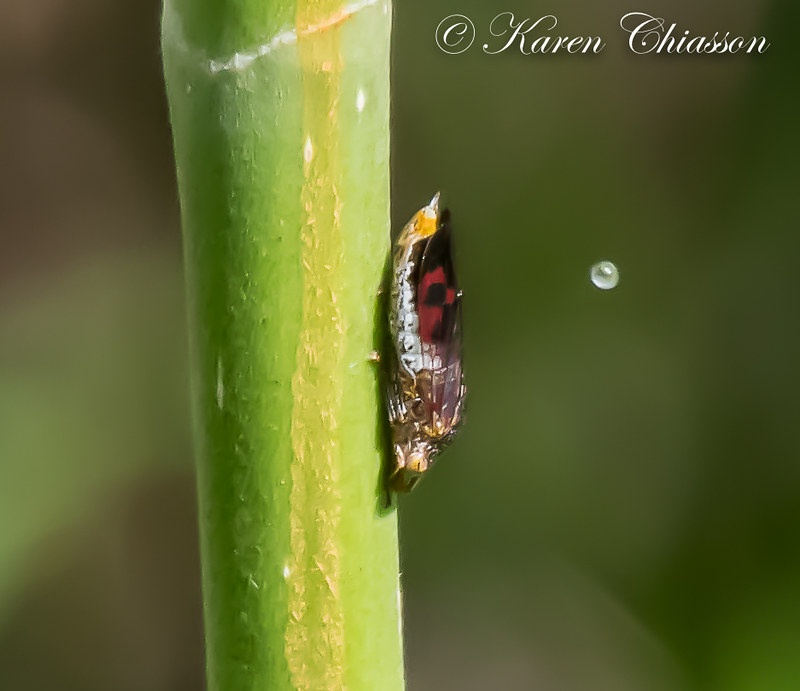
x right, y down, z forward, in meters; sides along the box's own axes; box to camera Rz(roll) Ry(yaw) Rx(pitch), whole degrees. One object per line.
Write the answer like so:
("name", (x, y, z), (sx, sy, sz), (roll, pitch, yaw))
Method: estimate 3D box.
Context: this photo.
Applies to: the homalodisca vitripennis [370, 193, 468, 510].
("homalodisca vitripennis", (0.013, -0.002, 0.700), (0.050, 0.059, 0.222), (5, -79, 18))
